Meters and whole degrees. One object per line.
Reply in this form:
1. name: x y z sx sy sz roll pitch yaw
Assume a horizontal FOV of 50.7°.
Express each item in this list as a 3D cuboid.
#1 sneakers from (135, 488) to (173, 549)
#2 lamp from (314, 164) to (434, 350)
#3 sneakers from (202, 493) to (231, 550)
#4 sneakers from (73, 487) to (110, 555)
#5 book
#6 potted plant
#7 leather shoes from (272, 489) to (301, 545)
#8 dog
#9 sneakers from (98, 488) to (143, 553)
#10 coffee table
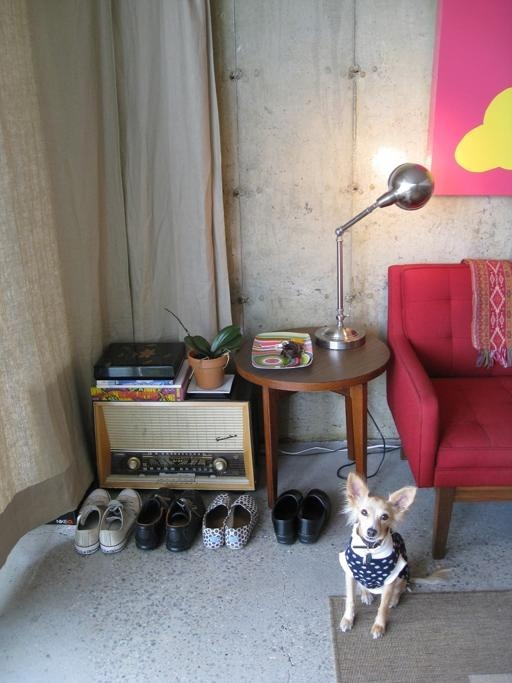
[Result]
1. sneakers: -0.334 0.590 1.808 0.068 0.076 0.201 1 21 5
2. lamp: 0.454 -0.347 2.057 0.539 0.788 0.259 3 37 12
3. sneakers: -0.133 0.595 1.823 0.056 0.051 0.169 -1 27 3
4. sneakers: -0.552 0.587 1.824 0.070 0.060 0.197 -3 27 -1
5. book: -0.413 0.109 1.986 0.242 0.088 0.232 2 26 -2
6. potted plant: -0.150 0.046 2.002 0.201 0.223 0.180 -5 21 -5
7. leather shoes: 0.107 0.572 1.811 0.092 0.107 0.217 -1 21 7
8. dog: 0.388 0.596 1.474 0.264 0.367 0.292 11 35 28
9. sneakers: -0.448 0.590 1.823 0.073 0.082 0.199 1 26 7
10. coffee table: 0.197 0.199 2.011 0.555 0.517 0.590 -4 26 0
